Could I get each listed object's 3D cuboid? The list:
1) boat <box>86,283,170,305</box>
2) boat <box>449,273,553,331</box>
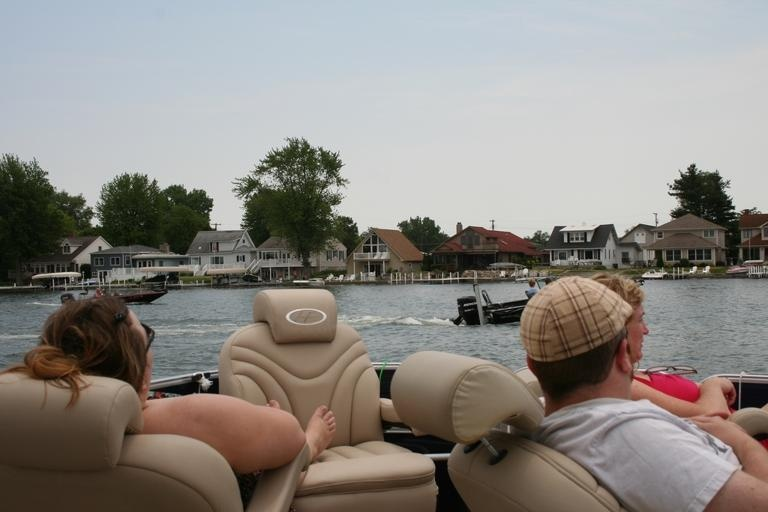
[{"bbox_3d":[-16.428,2.455,53.030,6.299,1.456,1.653,0,40,2],"label":"boat"},{"bbox_3d":[5.948,2.345,38.787,5.234,1.885,1.841,-9,-6,-6],"label":"boat"}]
